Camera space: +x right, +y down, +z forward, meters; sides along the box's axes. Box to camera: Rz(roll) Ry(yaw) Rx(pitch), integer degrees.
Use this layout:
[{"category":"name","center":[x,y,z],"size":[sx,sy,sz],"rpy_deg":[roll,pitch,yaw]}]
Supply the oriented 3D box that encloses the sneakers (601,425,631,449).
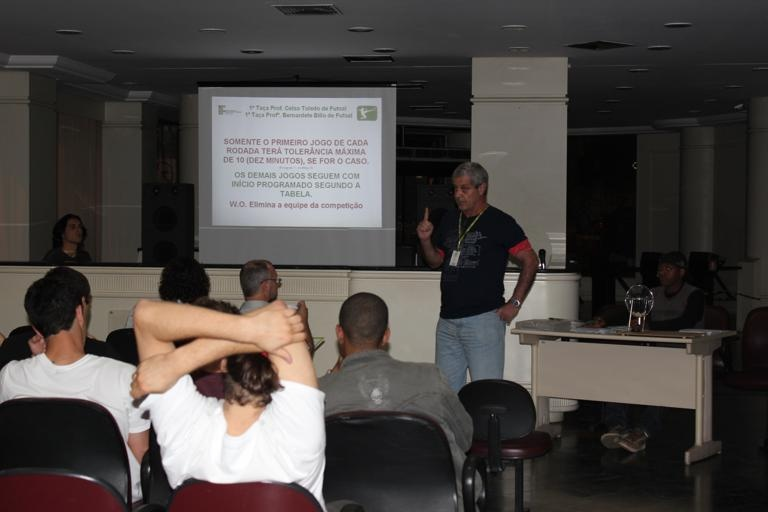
[{"category":"sneakers","center":[1.880,1.443,5.274],"size":[0.289,0.121,0.125],"rpy_deg":[5,31,5]}]

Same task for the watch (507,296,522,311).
[{"category":"watch","center":[0.926,0.342,4.663],"size":[0.077,0.087,0.088],"rpy_deg":[8,1,3]}]

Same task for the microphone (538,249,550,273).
[{"category":"microphone","center":[1.558,0.034,6.473],"size":[0.078,0.194,0.764],"rpy_deg":[0,3,14]}]
